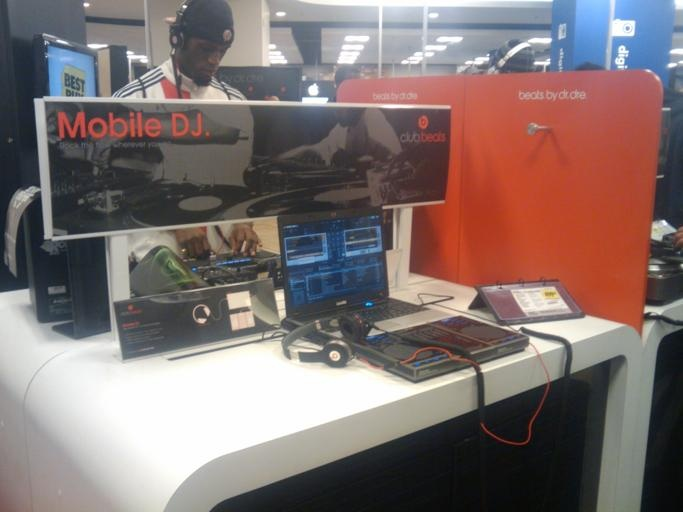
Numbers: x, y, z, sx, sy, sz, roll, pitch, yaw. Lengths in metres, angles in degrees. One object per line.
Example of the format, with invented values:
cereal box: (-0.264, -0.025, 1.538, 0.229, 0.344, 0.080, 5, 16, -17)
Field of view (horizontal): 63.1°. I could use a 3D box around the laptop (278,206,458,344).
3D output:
laptop: (0.069, 0.054, 1.771, 0.500, 0.388, 0.398, -11, 25, -31)
